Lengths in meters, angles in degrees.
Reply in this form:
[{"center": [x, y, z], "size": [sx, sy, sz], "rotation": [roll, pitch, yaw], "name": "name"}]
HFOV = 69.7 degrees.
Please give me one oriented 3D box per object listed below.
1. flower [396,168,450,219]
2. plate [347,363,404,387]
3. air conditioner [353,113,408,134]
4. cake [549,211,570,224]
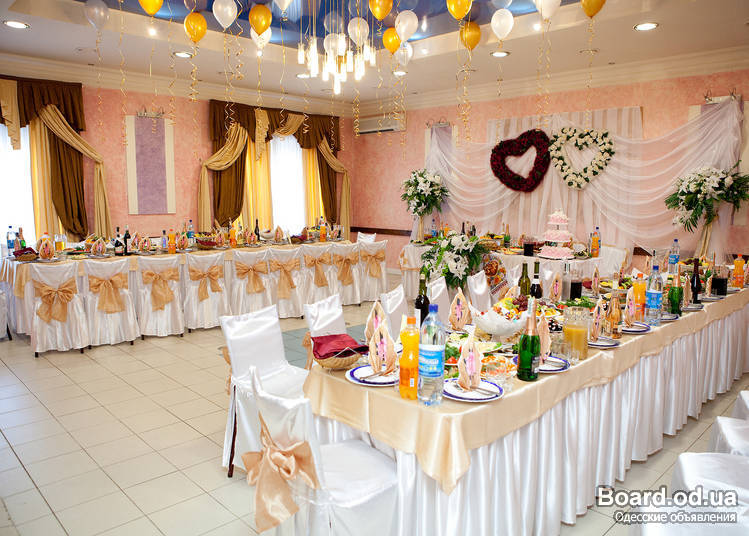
[{"center": [0.960, -1.428, 10.232], "size": [0.892, 1.018, 0.917], "rotation": [-5, 11, -23], "name": "flower"}, {"center": [-0.001, 0.689, 3.424], "size": [0.362, 0.069, 0.229], "rotation": [3, 10, 35], "name": "plate"}, {"center": [0.094, -3.061, 11.439], "size": [0.278, 0.441, 1.480], "rotation": [-10, 11, -43], "name": "air conditioner"}, {"center": [2.644, -0.697, 7.709], "size": [0.304, 0.251, 0.364], "rotation": [5, 12, 21], "name": "cake"}]
